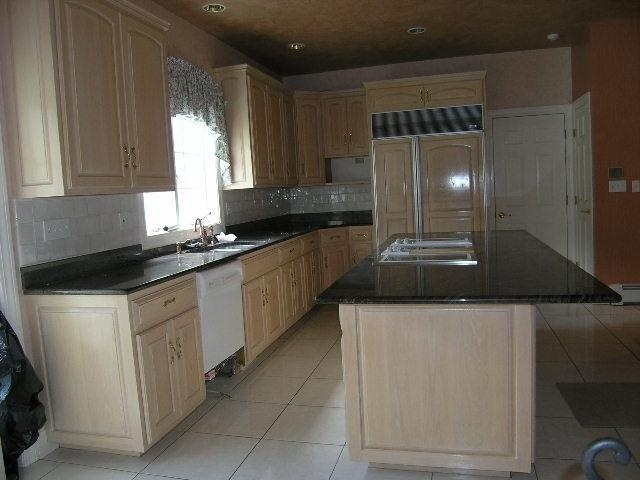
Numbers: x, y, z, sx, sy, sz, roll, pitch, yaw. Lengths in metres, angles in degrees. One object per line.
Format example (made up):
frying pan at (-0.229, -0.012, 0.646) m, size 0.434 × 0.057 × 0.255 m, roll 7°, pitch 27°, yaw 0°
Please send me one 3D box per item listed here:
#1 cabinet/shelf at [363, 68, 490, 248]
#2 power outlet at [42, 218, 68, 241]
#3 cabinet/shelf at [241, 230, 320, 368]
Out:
cabinet/shelf at (1.331, -0.795, 6.099) m, size 1.343 × 2.430 × 0.723 m, roll -1°, pitch 21°, yaw 13°
power outlet at (-1.776, -0.068, 3.220) m, size 0.017 × 0.140 × 0.194 m, roll 1°, pitch 11°, yaw 27°
cabinet/shelf at (-0.556, 0.815, 6.014) m, size 0.503 × 1.297 × 2.703 m, roll 2°, pitch -8°, yaw -10°
